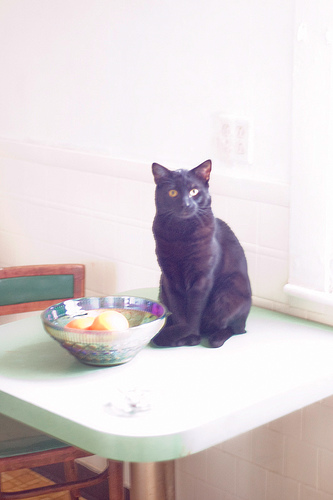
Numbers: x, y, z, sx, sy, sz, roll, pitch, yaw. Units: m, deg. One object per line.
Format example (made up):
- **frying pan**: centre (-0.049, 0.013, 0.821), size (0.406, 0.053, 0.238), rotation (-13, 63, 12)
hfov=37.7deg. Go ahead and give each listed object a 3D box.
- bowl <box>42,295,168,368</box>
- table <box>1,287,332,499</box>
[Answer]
- **bowl**: centre (-0.106, 0.146, 0.846), size (0.226, 0.088, 0.225), rotation (2, 0, 0)
- **table**: centre (0.010, 0.195, 0.902), size (0.502, 0.060, 0.632), rotation (9, 11, 43)
